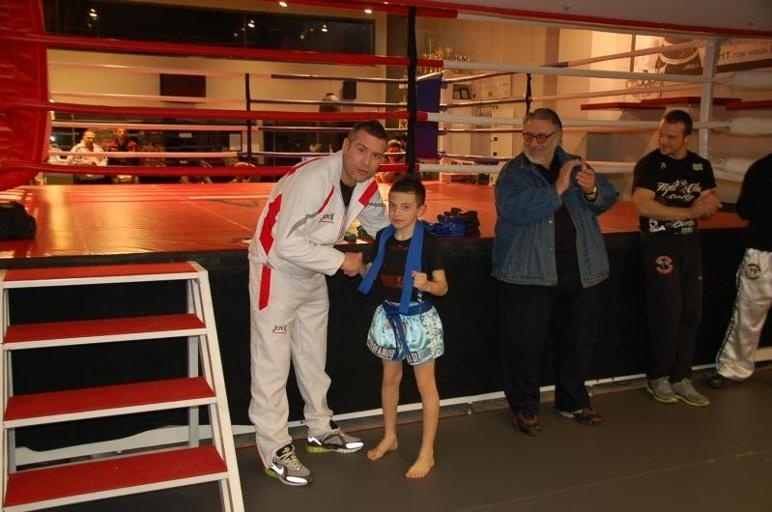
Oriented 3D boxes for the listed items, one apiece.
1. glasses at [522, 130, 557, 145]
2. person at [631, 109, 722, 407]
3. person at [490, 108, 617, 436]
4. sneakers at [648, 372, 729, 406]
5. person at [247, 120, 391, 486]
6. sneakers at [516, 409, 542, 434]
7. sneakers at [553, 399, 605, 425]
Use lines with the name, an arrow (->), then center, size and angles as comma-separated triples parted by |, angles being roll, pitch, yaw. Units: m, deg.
glasses -> 0.953, -0.739, 3.580 | 0.193, 0.066, 0.089 | 2, 14, 13
person -> 2.020, 0.016, 4.044 | 0.606, 2.024, 0.508 | 3, 16, 18
person -> 1.068, 0.096, 3.705 | 0.753, 2.042, 0.525 | -2, 15, -1
sneakers -> 2.064, 0.937, 4.095 | 0.213, 0.105, 0.305 | 1, -1, -28
person -> -0.407, 0.255, 3.305 | 0.862, 1.999, 0.589 | -6, 15, -14
sneakers -> 0.924, 1.087, 3.718 | 0.095, 0.078, 0.173 | 0, -6, -10
sneakers -> 1.308, 1.055, 3.902 | 0.283, 0.115, 0.120 | 1, 0, 33
